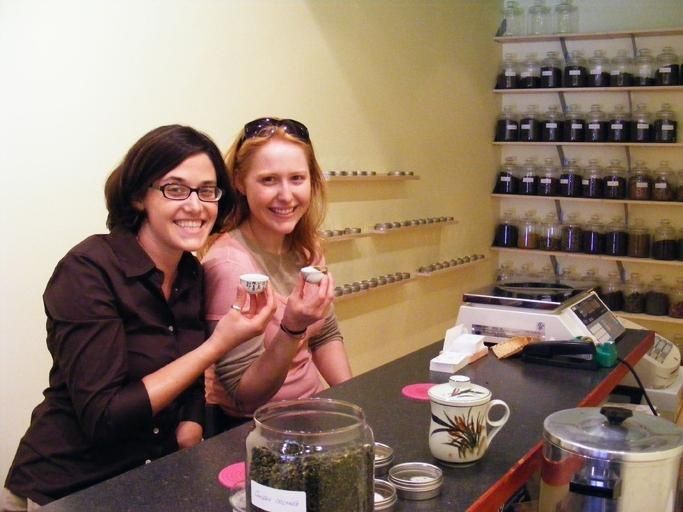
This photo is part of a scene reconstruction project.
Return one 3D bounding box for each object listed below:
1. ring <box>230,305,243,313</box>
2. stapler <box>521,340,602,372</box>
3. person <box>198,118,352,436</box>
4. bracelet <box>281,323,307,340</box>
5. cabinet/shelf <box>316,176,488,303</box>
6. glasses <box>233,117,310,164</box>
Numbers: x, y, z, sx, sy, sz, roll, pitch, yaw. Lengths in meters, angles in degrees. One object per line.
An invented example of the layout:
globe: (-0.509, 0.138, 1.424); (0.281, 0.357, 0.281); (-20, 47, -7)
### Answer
ring: (-0.299, 0.147, 1.490); (0.024, 0.016, 0.026); (2, -13, 0)
stapler: (0.749, 0.329, 1.807); (0.248, 0.100, 0.070); (2, 9, 20)
person: (-0.224, -0.010, 1.928); (0.490, 1.297, 0.652); (3, 5, 34)
bracelet: (-0.155, 0.233, 1.658); (0.080, 0.048, 0.045); (-2, 8, -10)
cabinet/shelf: (0.399, -0.192, 3.919); (0.247, 0.792, 1.818); (9, 10, 40)
glasses: (-0.249, -0.425, 1.925); (0.222, 0.139, 0.209); (8, 13, 14)
